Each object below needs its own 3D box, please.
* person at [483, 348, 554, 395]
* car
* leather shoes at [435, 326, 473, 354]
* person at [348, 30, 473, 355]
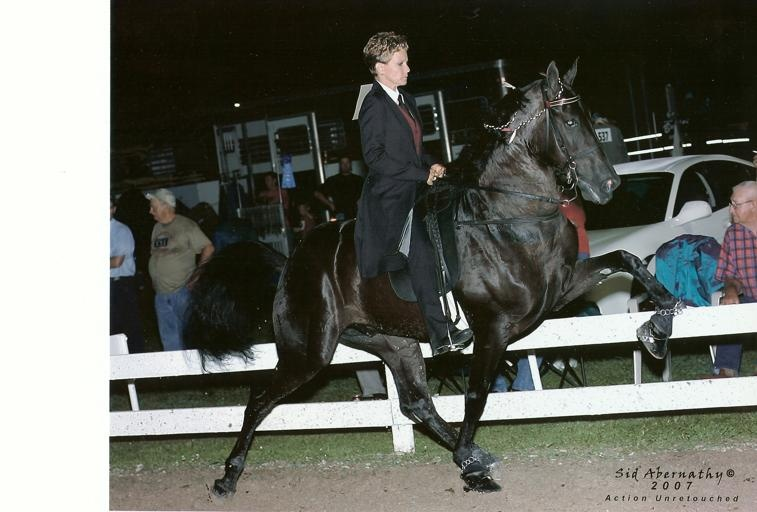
[{"bbox_3d":[1.485,1.296,8.624,0.541,0.777,0.518,4,-7,-37],"label":"person"},{"bbox_3d":[3.552,-0.438,10.006,2.624,1.240,1.493,-2,-1,-42],"label":"car"},{"bbox_3d":[0.660,0.763,6.885,0.400,0.181,0.183,-20,-4,-4],"label":"leather shoes"},{"bbox_3d":[0.301,-0.546,7.102,0.890,2.860,0.866,-4,2,21],"label":"person"}]
